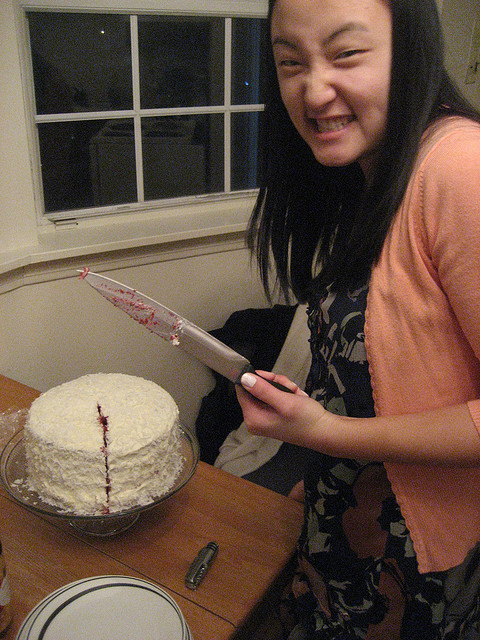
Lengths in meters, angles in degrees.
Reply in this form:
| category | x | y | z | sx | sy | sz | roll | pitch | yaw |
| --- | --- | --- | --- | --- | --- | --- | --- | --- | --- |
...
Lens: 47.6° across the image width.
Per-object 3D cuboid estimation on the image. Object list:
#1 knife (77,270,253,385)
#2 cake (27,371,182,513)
| category | x | y | z | sx | sy | sz | roll | pitch | yaw |
| --- | --- | --- | --- | --- | --- | --- | --- | --- | --- |
| knife | -0.241 | 0.019 | 1.604 | 0.642 | 0.088 | 0.048 | 38 | 35 | 15 |
| cake | -0.235 | 0.206 | 0.894 | 0.239 | 0.113 | 0.237 | 7 | 11 | -8 |
